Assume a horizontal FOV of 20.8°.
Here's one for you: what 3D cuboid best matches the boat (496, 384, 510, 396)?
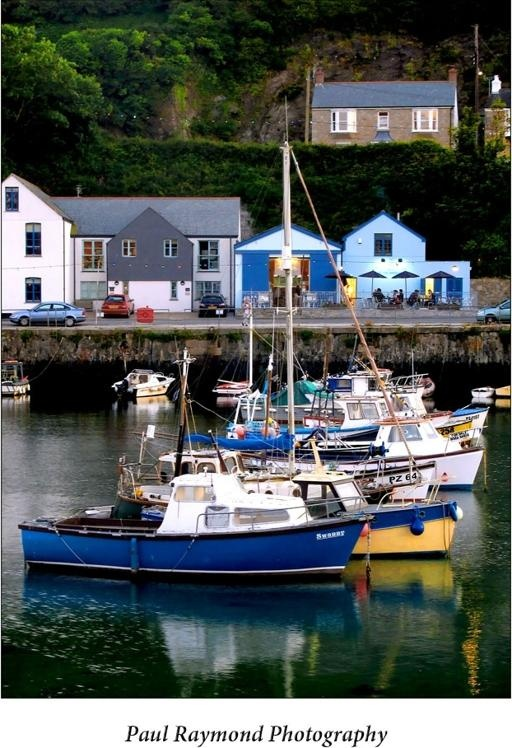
[{"bbox_3d":[9.512,0.654,53.782,0.524,0.338,0.238,-4,12,-14],"label":"boat"}]

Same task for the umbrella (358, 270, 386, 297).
[{"bbox_3d":[5.061,-4.020,61.052,0.983,1.091,1.070,0,-2,15],"label":"umbrella"}]

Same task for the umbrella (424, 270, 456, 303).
[{"bbox_3d":[7.920,-3.824,61.230,1.237,1.012,1.274,-4,9,-33],"label":"umbrella"}]

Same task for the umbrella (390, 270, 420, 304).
[{"bbox_3d":[6.518,-3.908,61.166,1.097,1.578,1.210,-1,12,-10],"label":"umbrella"}]

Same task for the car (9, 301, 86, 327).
[{"bbox_3d":[-8.370,-2.397,56.746,2.754,1.077,1.238,2,4,-2],"label":"car"}]
